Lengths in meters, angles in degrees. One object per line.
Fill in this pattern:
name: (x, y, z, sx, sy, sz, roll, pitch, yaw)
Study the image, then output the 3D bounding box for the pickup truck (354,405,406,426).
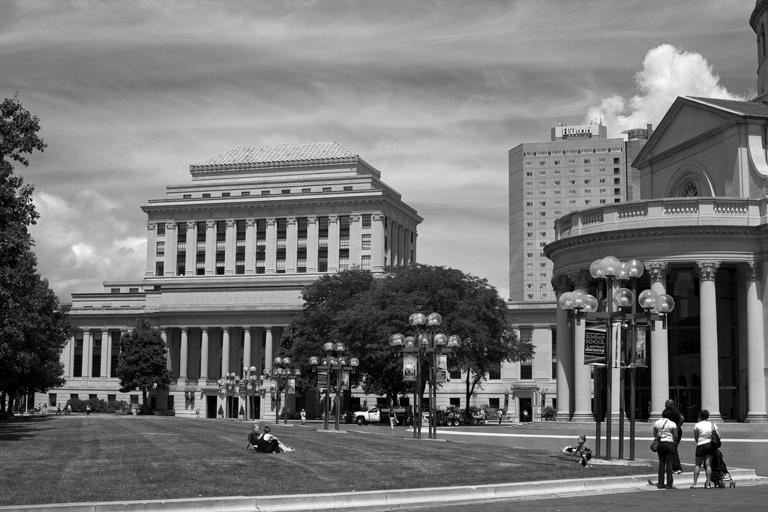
pickup truck: (-0.260, 14.461, 125.475, 5.588, 1.818, 2.552, 0, -9, 17)

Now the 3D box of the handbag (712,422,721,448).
handbag: (15.638, 8.461, 63.713, 0.313, 1.085, 1.383, -3, -10, 14)
